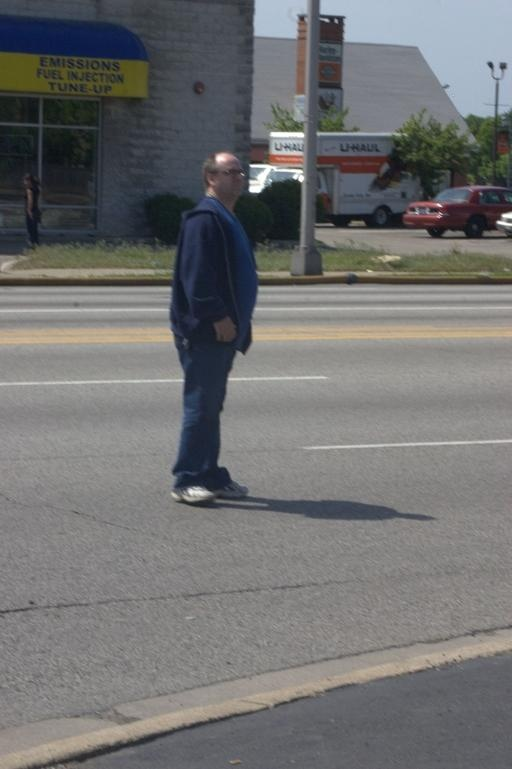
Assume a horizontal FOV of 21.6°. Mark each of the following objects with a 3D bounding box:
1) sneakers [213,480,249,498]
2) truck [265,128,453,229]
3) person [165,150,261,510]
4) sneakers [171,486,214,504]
[{"bbox_3d":[-0.120,0.509,6.598,0.170,0.094,0.074,-6,32,-10],"label":"sneakers"},{"bbox_3d":[3.196,-6.595,42.236,4.188,3.306,2.897,-11,15,-31],"label":"truck"},{"bbox_3d":[-0.187,-0.117,6.263,0.403,1.420,0.451,-1,7,-12],"label":"person"},{"bbox_3d":[-0.295,0.523,6.426,0.203,0.113,0.082,1,9,26],"label":"sneakers"}]
